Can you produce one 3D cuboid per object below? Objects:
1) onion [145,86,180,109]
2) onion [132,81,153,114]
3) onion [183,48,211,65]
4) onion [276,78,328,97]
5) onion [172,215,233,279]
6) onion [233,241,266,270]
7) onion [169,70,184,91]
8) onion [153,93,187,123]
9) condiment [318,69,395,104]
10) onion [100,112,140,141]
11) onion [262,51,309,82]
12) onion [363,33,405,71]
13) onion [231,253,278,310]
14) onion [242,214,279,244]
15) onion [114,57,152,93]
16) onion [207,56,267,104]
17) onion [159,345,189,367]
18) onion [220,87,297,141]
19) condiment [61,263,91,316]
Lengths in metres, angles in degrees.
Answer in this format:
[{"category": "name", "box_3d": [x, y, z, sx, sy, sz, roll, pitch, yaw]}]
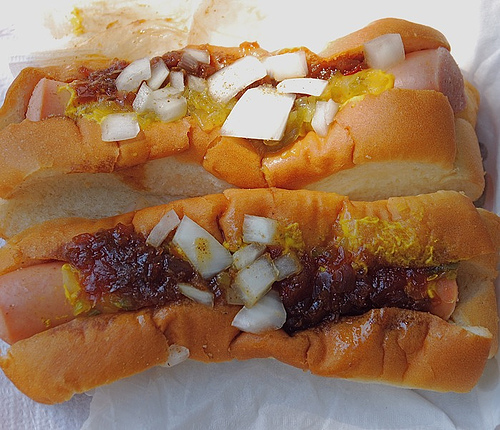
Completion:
[{"category": "onion", "box_3d": [-0.397, -0.520, 2.501, 0.086, 0.029, 0.121, 39, 61, 22]}, {"category": "onion", "box_3d": [-0.469, -0.510, 2.490, 0.076, 0.033, 0.129, 20, 91, 4]}, {"category": "onion", "box_3d": [-0.243, -0.732, 2.591, 0.112, 0.026, 0.064, 33, 66, -4]}, {"category": "onion", "box_3d": [0.231, -0.562, 2.487, 0.180, 0.043, 0.090, 14, 60, 18]}, {"category": "onion", "box_3d": [-0.202, 0.132, 2.301, 0.277, 0.075, 0.163, 44, 84, 0]}, {"category": "onion", "box_3d": [-0.004, 0.175, 2.367, 0.160, 0.047, 0.074, -35, 79, 5]}, {"category": "onion", "box_3d": [-0.328, -0.594, 2.556, 0.092, 0.024, 0.080, 10, 93, 28]}, {"category": "onion", "box_3d": [-0.345, -0.463, 2.483, 0.162, 0.100, 0.113, -20, 61, -18]}, {"category": "condiment", "box_3d": [0.472, -0.566, 2.493, 0.281, 0.068, 0.149, -12, 69, 0]}, {"category": "onion", "box_3d": [-0.565, -0.379, 2.467, 0.164, 0.079, 0.105, -9, 43, -9]}, {"category": "onion", "box_3d": [0.162, -0.659, 2.512, 0.175, 0.058, 0.117, -8, 83, 3]}, {"category": "onion", "box_3d": [0.602, -0.707, 2.548, 0.173, 0.125, 0.159, -20, 66, 13]}, {"category": "onion", "box_3d": [0.021, 0.276, 2.320, 0.175, 0.173, 0.119, -19, 47, -19]}, {"category": "onion", "box_3d": [0.042, 0.065, 2.324, 0.144, 0.085, 0.089, 4, 43, 5]}, {"category": "onion", "box_3d": [-0.517, -0.613, 2.546, 0.167, 0.050, 0.150, -6, 51, 30]}, {"category": "onion", "box_3d": [-0.047, -0.587, 2.595, 0.270, 0.063, 0.168, -33, 72, -5]}, {"category": "onion", "box_3d": [-0.318, 0.590, 2.364, 0.117, 0.081, 0.026, -8, 24, 5]}, {"category": "onion", "box_3d": [0.038, -0.446, 2.493, 0.263, 0.132, 0.257, 13, 44, 14]}, {"category": "condiment", "box_3d": [-0.693, 0.295, 2.266, 0.131, 0.046, 0.184, -10, 96, -5]}]
